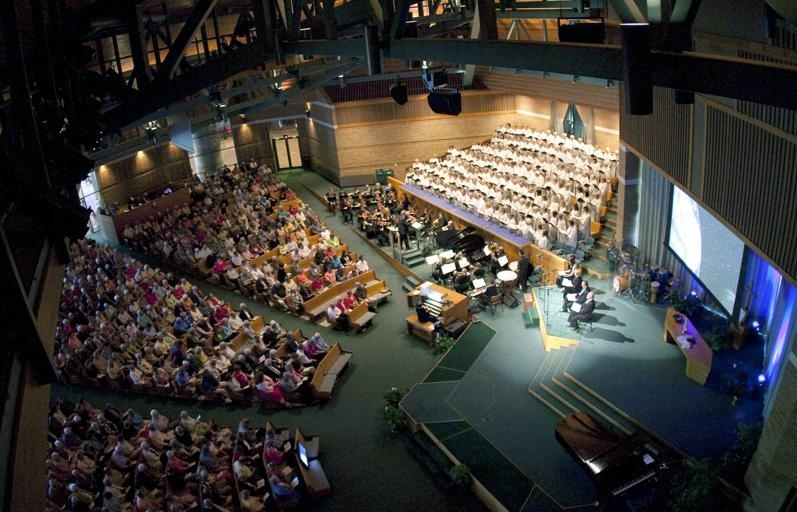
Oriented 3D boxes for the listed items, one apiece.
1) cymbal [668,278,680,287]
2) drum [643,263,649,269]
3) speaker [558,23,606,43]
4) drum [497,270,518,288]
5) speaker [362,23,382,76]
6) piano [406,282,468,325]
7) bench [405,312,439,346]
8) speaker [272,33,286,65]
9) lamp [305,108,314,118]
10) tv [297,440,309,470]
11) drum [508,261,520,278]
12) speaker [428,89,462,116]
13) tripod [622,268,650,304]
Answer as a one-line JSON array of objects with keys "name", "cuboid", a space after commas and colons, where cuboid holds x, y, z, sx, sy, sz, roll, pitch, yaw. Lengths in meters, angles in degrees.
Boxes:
[{"name": "cymbal", "cuboid": [8.938, 0.835, 16.107, 0.285, 0.280, 0.217, -28, 28, -6]}, {"name": "drum", "cuboid": [8.403, 0.335, 16.772, 0.190, 0.200, 0.197, -1, 28, 38]}, {"name": "speaker", "cuboid": [3.622, -4.357, 9.727, 0.571, 0.340, 1.035, -7, 31, -9]}, {"name": "drum", "cuboid": [3.941, 0.881, 17.814, 0.617, 0.452, 0.634, -9, 28, 5]}, {"name": "speaker", "cuboid": [-0.427, -3.550, 8.584, 0.292, 0.744, 0.401, -3, 30, -2]}, {"name": "piano", "cuboid": [1.352, 1.696, 17.607, 1.041, 0.941, 1.886, -26, 30, -38]}, {"name": "bench", "cuboid": [0.847, 2.417, 17.095, 1.290, 0.825, 0.445, 24, 38, 36]}, {"name": "speaker", "cuboid": [-2.511, -4.357, 10.508, 0.215, 0.606, 0.249, 4, 30, 11]}, {"name": "lamp", "cuboid": [-5.703, -9.188, 31.993, 0.499, 0.960, 0.542, -3, 6, -9]}, {"name": "tv", "cuboid": [-2.424, 4.993, 12.596, 0.147, 0.612, 0.565, -13, 61, 20]}, {"name": "drum", "cuboid": [4.228, 0.477, 18.072, 0.315, 0.336, 0.603, -8, 59, 38]}, {"name": "speaker", "cuboid": [2.139, -6.423, 20.171, 1.320, 0.695, 1.850, 8, 8, 20]}, {"name": "tripod", "cuboid": [7.951, 0.986, 16.721, 0.887, 0.967, 0.935, 5, 21, 37]}]
